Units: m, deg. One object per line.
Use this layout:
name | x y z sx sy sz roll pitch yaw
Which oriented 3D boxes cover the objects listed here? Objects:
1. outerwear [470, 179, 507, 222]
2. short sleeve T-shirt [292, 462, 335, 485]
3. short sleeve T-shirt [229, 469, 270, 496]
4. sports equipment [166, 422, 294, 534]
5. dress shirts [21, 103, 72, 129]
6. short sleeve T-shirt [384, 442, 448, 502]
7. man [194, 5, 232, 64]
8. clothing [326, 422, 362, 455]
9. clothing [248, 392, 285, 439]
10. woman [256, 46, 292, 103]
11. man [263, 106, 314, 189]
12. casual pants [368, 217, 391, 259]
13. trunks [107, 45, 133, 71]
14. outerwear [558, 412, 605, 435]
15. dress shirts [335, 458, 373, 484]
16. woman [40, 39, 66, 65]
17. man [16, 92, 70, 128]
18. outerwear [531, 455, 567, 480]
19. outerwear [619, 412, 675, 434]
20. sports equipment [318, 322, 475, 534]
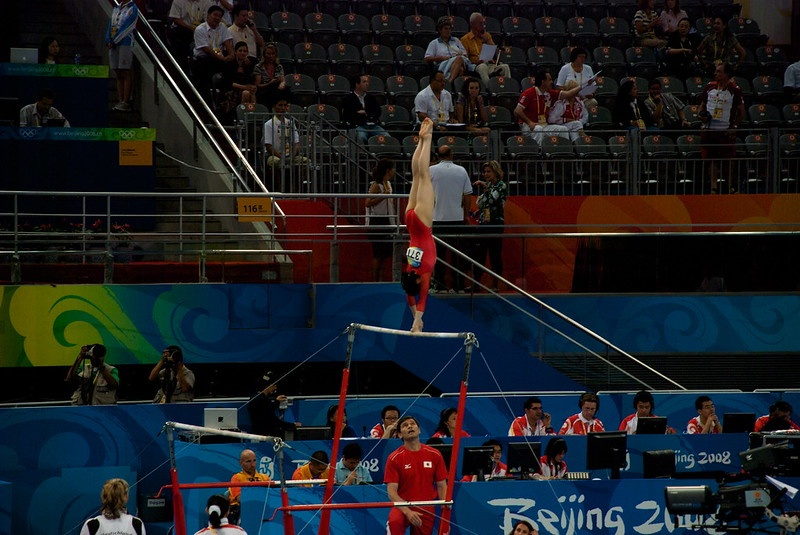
outerwear | 1.751 -1.231 35.366 0.452 0.795 0.594 3 -6 -41
short sleeve T-shirt | -1.454 3.460 31.372 0.488 0.395 0.210 -13 14 -25
short sleeve T-shirt | -2.493 3.555 31.245 0.607 0.364 0.526 -2 40 -21
sports equipment | -2.770 3.544 30.927 1.740 1.859 0.939 2 12 37
dress shirts | -6.829 -2.863 35.891 0.639 0.642 0.260 -2 -14 -11
short sleeve T-shirt | 0.287 3.371 30.586 1.041 0.983 0.419 -2 6 -10
man | -3.705 -4.598 37.553 0.863 1.220 1.064 -8 12 -34
clothing | -1.005 2.904 32.461 0.465 0.298 0.288 3 -19 -16
clothing | -2.279 2.595 32.600 0.594 0.798 0.436 -5 -16 -8
woman | -2.502 -3.605 37.351 0.595 1.742 0.965 -1 -5 -10
man | -2.182 -2.315 35.855 0.793 1.798 0.985 -2 3 -23
casual pants | -0.309 -0.533 34.727 0.412 0.555 0.365 -3 -2 -2
trunks | -5.471 -4.164 37.360 0.655 0.690 0.389 -2 20 -16
outerwear | 3.214 2.783 32.951 0.698 0.583 0.345 0 -18 -2
dress shirts | -0.757 3.483 31.576 0.612 0.544 0.364 3 -16 -11
woman | -6.926 -4.277 37.509 0.391 0.577 0.917 -2 -2 -13
man | -6.830 -2.918 35.940 0.869 1.097 0.694 -3 19 -33
outerwear | 2.569 3.296 31.737 0.600 0.613 0.334 4 -14 -16
outerwear | 4.228 2.703 33.123 0.608 0.511 0.587 2 1 2
sports equipment | 0.012 2.799 32.044 2.373 4.294 0.417 14 1 -8
